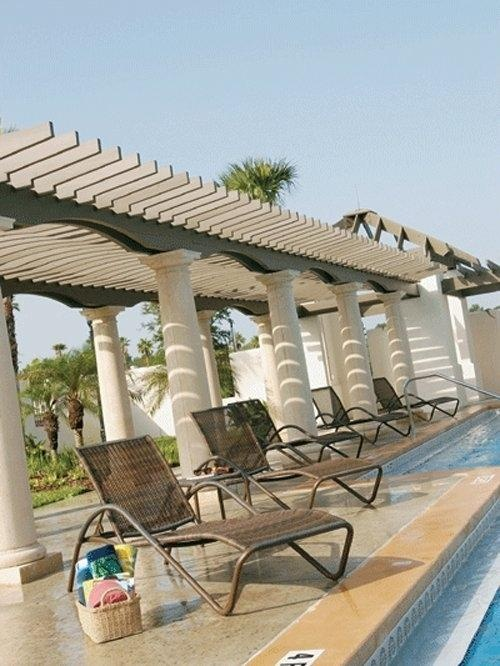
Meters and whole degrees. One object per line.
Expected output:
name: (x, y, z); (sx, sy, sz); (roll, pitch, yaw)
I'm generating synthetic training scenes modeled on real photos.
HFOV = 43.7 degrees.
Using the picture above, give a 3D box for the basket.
basket: (-0.608, 1.188, 2.649); (0.265, 0.160, 0.194); (-8, -26, -5)

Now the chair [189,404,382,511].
chair: (0.262, 1.108, 5.413); (0.990, 0.875, 1.749); (-1, -5, -41)

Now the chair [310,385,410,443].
chair: (2.189, 1.400, 10.717); (1.828, 0.876, 0.992); (0, -10, 18)

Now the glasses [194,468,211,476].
glasses: (-0.404, 1.190, 5.305); (0.103, 0.046, 0.137); (-1, -3, 25)

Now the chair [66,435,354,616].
chair: (-0.250, 0.916, 3.169); (1.518, 0.734, 0.857); (-5, -2, 45)

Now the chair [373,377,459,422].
chair: (3.219, 1.361, 12.213); (1.934, 0.930, 0.989); (-1, -2, 27)
